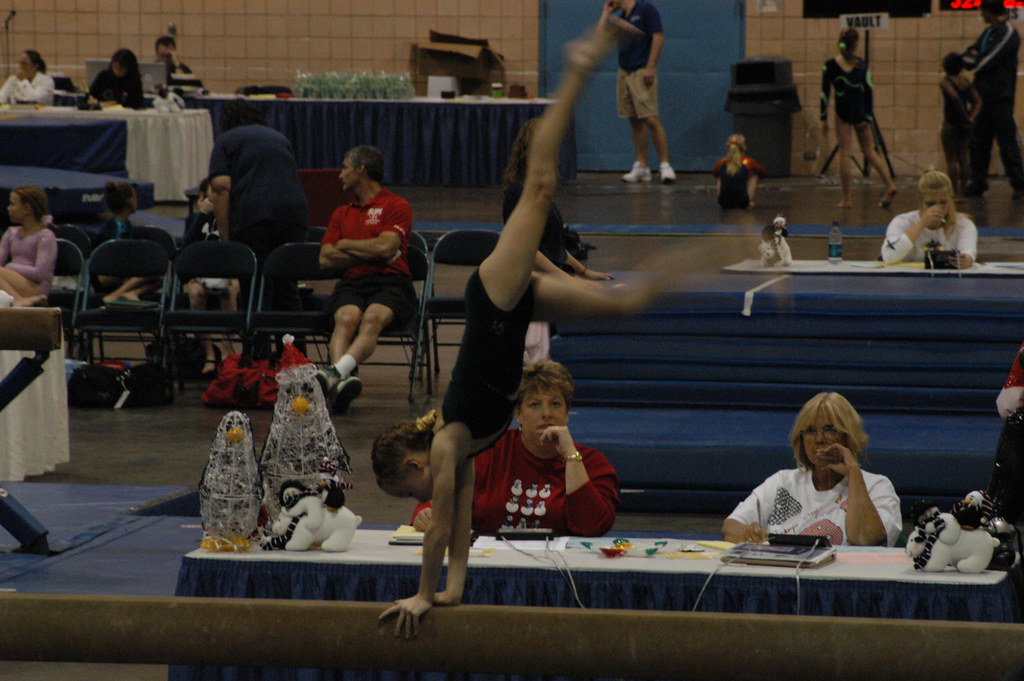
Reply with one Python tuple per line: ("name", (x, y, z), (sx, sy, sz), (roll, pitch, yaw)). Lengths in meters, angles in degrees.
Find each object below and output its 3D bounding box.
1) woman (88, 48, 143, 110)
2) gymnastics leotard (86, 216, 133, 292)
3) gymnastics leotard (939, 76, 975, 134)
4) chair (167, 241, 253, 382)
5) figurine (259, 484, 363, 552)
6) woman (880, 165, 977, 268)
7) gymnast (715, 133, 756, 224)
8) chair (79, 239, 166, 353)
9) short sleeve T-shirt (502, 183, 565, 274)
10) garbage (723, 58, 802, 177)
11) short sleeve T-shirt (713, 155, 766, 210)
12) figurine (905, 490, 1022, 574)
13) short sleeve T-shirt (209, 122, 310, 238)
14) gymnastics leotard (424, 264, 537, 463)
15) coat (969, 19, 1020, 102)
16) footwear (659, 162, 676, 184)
("woman", (-4.488, -2.957, 21.059), (0.626, 0.677, 0.943), (-1, 5, -12))
("gymnastics leotard", (-3.385, -0.744, 15.955), (0.385, 0.488, 0.513), (8, -13, -13))
("gymnastics leotard", (5.306, -2.873, 22.339), (0.533, 0.657, 0.384), (-3, -2, -43))
("chair", (-2.509, -0.319, 15.230), (0.839, 1.428, 1.082), (0, 4, 3))
("figurine", (-1.201, 1.038, 11.136), (0.601, 0.467, 0.358), (2, -3, -8))
("woman", (3.194, -0.986, 14.233), (0.604, 0.835, 0.790), (-1, 24, 9))
("gymnast", (2.420, -1.817, 20.127), (0.487, 0.792, 0.597), (1, 2, 24))
("chair", (-3.178, -0.308, 15.171), (0.707, 1.110, 0.850), (2, -8, -8))
("short sleeve T-shirt", (0.132, -0.906, 14.140), (0.432, 0.606, 0.374), (5, 11, -10))
("garbage", (3.284, -2.983, 24.457), (0.909, 1.430, 1.020), (0, 5, 17))
("short sleeve T-shirt", (2.364, -1.698, 20.169), (0.528, 0.745, 0.524), (11, 27, 25))
("figurine", (2.607, 1.114, 10.865), (0.594, 0.436, 0.415), (4, -2, 15))
("short sleeve T-shirt", (-2.138, -1.370, 15.702), (0.852, 0.971, 0.548), (-3, -9, -37))
("gymnastics leotard", (-0.210, 0.174, 10.168), (0.527, 0.873, 0.303), (8, 5, -33))
("coat", (5.265, -3.073, 20.410), (0.462, 0.855, 0.443), (2, 5, 17))
("footwear", (1.902, -2.086, 23.225), (0.142, 0.173, 0.395), (-4, 3, 4))
